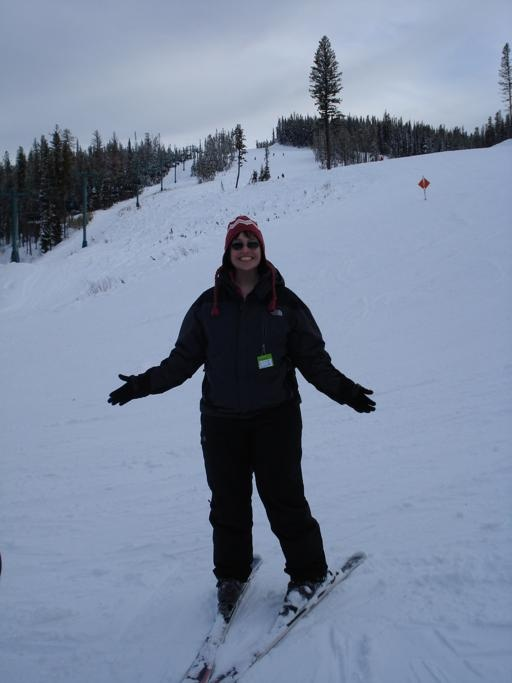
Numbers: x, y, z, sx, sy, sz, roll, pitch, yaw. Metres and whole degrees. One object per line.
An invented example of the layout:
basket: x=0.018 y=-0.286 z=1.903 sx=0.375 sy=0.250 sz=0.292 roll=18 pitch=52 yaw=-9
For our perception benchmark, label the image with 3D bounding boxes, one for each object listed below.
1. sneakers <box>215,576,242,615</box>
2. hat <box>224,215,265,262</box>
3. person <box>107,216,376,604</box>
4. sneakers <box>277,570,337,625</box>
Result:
sneakers: x=-0.152 y=1.332 z=3.814 sx=0.077 sy=0.178 sz=0.042 roll=1 pitch=-28 yaw=6
hat: x=-0.077 y=-0.575 z=4.030 sx=0.152 sy=0.213 sz=0.258 roll=-2 pitch=-39 yaw=-5
person: x=0.002 y=0.503 z=3.850 sx=1.061 sy=1.720 sz=0.476 roll=-5 pitch=8 yaw=-7
sneakers: x=0.249 y=1.337 z=3.829 sx=0.362 sy=0.171 sz=0.115 roll=-32 pitch=6 yaw=-38
